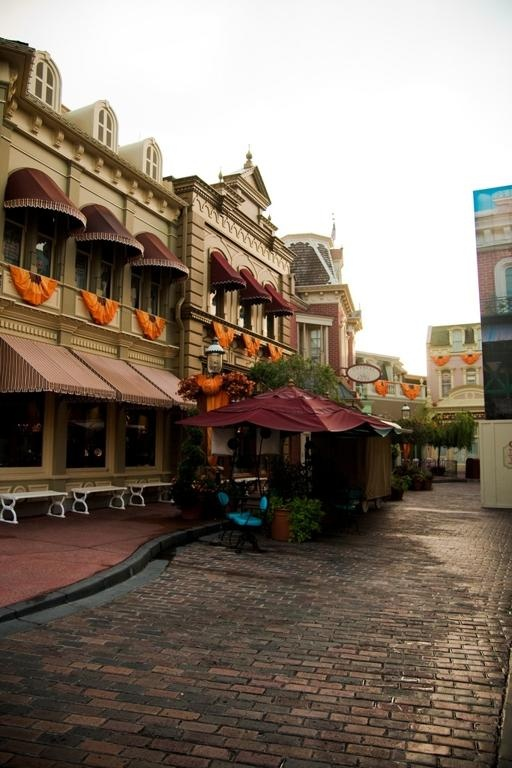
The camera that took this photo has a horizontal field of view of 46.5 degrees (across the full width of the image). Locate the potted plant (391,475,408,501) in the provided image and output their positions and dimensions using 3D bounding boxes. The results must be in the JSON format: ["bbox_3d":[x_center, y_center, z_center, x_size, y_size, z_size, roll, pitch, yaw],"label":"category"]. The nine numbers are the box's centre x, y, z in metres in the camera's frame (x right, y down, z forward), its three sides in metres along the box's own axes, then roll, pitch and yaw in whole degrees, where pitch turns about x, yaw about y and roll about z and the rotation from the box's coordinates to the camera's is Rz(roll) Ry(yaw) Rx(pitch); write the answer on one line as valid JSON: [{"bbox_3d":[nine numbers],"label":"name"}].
[{"bbox_3d":[4.996,3.604,20.843,0.465,0.769,0.920,1,-7,12],"label":"potted plant"}]

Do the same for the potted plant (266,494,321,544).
[{"bbox_3d":[0.740,2.405,10.833,0.793,0.565,0.797,0,-3,15],"label":"potted plant"}]

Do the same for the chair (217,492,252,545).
[{"bbox_3d":[-0.357,2.255,10.352,0.585,0.791,0.609,-6,-7,34],"label":"chair"}]

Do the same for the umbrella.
[{"bbox_3d":[0.570,0.423,10.801,2.789,0.862,1.811,-1,-7,31],"label":"umbrella"}]

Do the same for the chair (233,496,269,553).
[{"bbox_3d":[-0.100,2.236,9.767,0.690,0.877,0.723,3,-7,21],"label":"chair"}]
